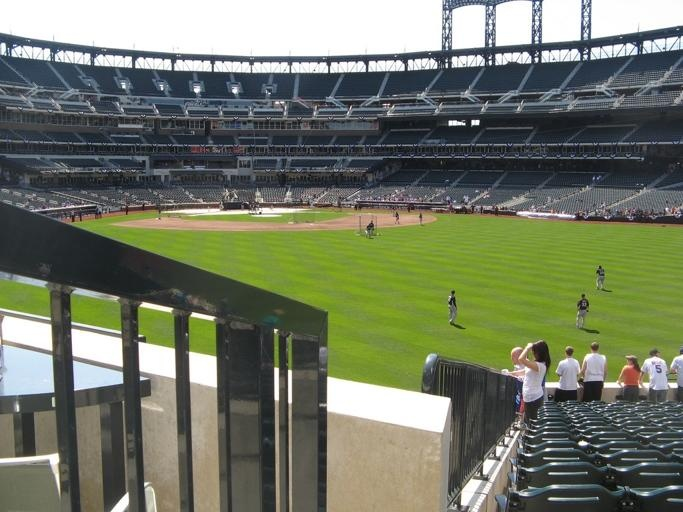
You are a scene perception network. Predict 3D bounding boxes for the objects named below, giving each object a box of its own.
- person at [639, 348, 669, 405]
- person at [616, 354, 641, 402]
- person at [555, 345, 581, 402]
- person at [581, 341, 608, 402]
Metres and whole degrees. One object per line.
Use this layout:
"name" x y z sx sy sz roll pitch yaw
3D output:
"person" 5.964 2.387 16.797 0.517 1.248 0.429 -3 7 -3
"person" 5.485 2.301 16.877 0.423 0.833 1.190 4 -5 18
"person" 4.091 2.122 16.019 0.389 0.972 1.465 4 -5 15
"person" 4.696 2.262 16.466 0.436 1.279 0.376 2 12 10
